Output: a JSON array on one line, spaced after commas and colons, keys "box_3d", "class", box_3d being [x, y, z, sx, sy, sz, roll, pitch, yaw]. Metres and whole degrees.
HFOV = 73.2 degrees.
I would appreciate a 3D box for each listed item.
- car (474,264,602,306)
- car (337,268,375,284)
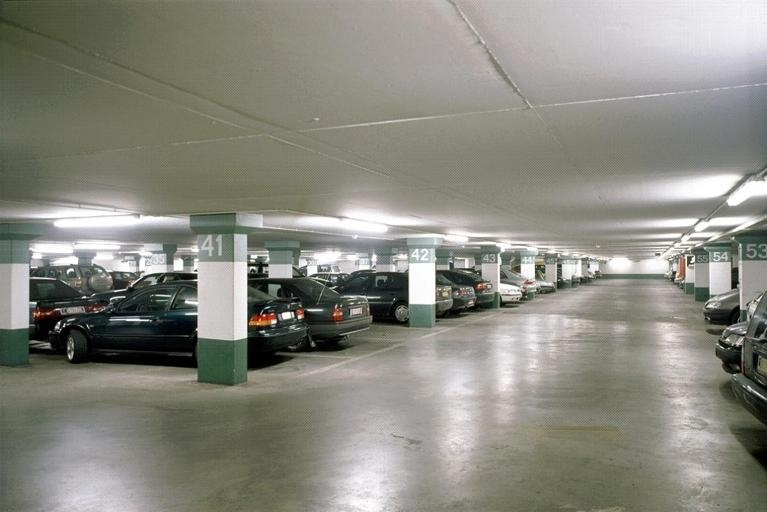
[{"box_3d": [9.525, 2.138, 33.934, 6.487, 1.713, 2.783, -1, 0, -41], "class": "car"}, {"box_3d": [-1.355, 0.800, 20.283, 1.679, 0.622, 0.837, 0, 0, 4], "class": "car"}]
